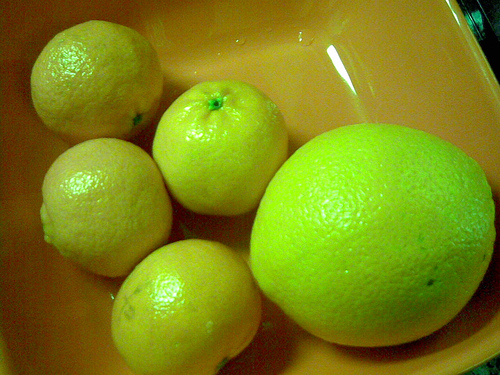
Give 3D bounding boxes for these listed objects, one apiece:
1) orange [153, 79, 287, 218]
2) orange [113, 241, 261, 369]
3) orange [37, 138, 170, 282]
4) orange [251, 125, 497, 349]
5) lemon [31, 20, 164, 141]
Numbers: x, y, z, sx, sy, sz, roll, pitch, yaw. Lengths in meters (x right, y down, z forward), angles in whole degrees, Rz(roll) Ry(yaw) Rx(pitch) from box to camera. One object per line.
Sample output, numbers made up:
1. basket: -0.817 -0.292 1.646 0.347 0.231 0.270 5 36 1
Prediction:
1. orange: -0.039 -0.059 0.825 0.189 0.145 0.196 41 92 9
2. orange: -0.086 0.185 0.751 0.185 0.146 0.154 -22 56 -12
3. orange: -0.217 0.025 0.744 0.186 0.117 0.190 23 70 12
4. orange: 0.171 0.061 0.688 0.290 0.238 0.305 1 84 8
5. lemon: -0.247 -0.163 0.802 0.187 0.155 0.192 14 68 9
